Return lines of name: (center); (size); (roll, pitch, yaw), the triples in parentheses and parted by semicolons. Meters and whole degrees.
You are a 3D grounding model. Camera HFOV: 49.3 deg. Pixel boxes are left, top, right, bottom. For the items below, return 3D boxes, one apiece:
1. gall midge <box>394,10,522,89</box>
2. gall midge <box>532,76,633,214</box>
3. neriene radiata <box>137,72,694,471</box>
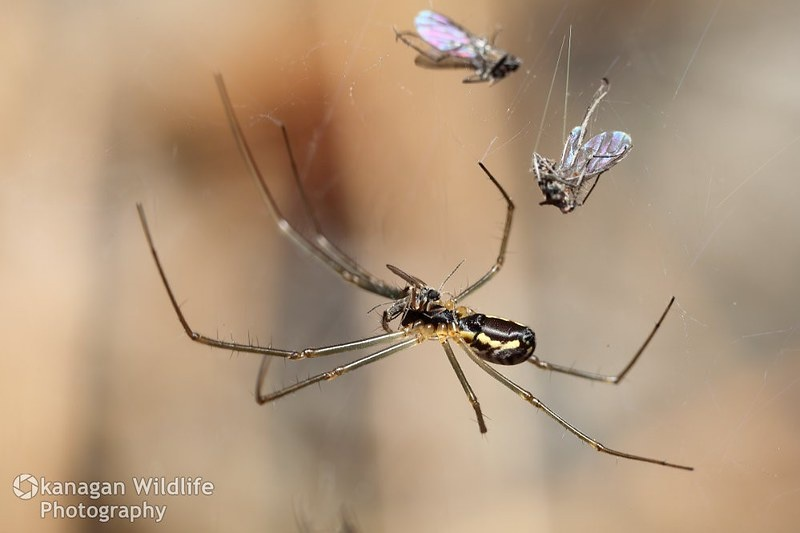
gall midge: (0.212, -0.640, 2.690); (0.386, 0.147, 0.292); (22, 1, -11)
gall midge: (0.538, -0.311, 2.622); (0.202, 0.453, 0.291); (2, -8, -5)
neriene radiata: (0.008, -0.003, 2.685); (1.585, 1.159, 0.160); (4, 0, 4)
